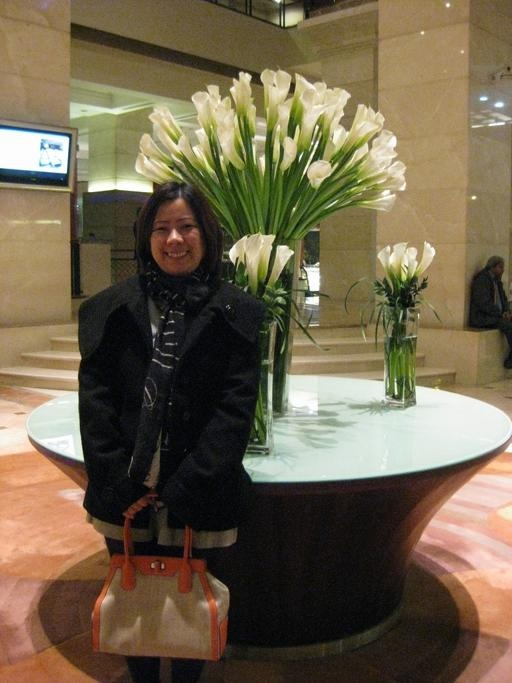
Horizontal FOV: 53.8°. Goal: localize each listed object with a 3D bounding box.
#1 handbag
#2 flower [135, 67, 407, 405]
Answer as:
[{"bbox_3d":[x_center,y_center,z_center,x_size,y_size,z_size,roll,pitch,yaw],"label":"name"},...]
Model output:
[{"bbox_3d":[-0.164,0.414,0.899,0.226,0.190,0.115,0,0,5],"label":"handbag"},{"bbox_3d":[0.029,-0.488,1.682,0.790,0.660,0.778,-3,7,-18],"label":"flower"}]
